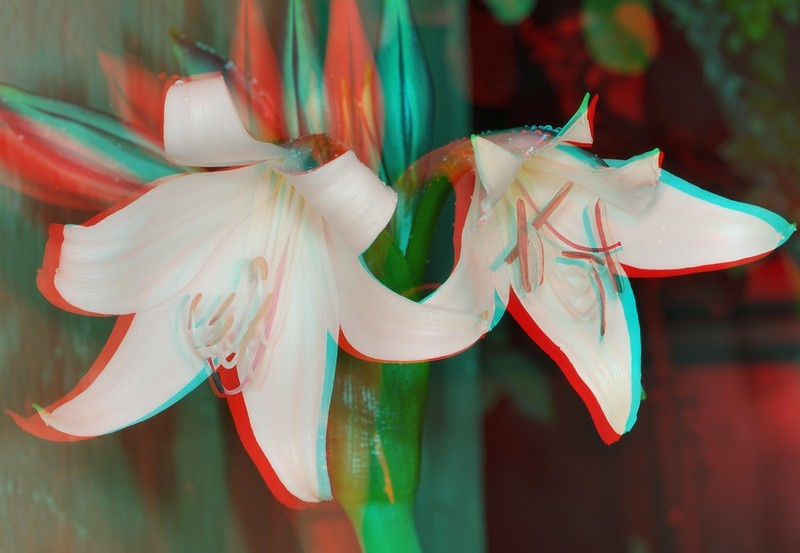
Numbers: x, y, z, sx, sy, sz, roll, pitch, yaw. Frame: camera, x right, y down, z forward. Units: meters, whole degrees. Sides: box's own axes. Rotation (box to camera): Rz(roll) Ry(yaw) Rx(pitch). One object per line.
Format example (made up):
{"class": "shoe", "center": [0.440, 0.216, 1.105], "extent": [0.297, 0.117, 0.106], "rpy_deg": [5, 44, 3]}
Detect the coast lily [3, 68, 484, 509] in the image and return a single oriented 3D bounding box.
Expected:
{"class": "coast lily", "center": [-0.182, 0.007, 1.203], "extent": [0.585, 0.516, 0.260], "rpy_deg": [2, 21, 3]}
